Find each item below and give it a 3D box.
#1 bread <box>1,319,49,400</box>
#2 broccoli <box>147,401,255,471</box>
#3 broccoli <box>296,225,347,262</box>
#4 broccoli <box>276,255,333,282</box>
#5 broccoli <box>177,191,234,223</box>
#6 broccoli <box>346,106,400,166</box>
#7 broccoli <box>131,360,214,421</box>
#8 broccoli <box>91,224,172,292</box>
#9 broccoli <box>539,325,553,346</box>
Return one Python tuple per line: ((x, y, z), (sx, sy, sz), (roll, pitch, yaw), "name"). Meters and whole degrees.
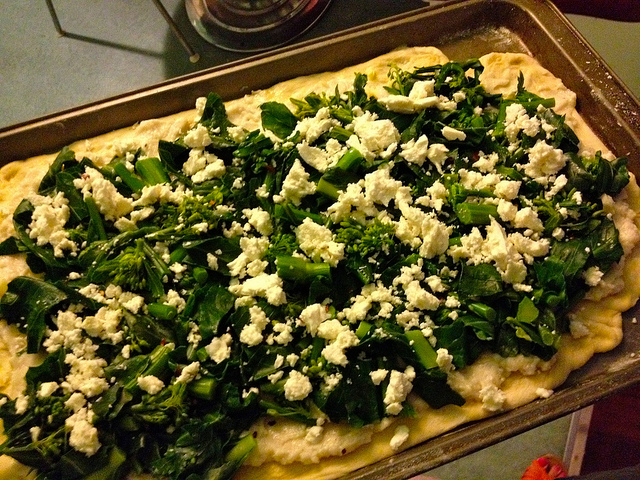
((-1.622, 0.644, 2.920), (0.268, 0.105, 0.348), (-6, 76, 18), "bread")
((-0.588, 1.003, 2.620), (0.408, 0.099, 0.378), (14, 62, 0), "broccoli")
((-0.023, 0.004, 2.843), (0.090, 0.331, 0.177), (-20, 55, 43), "broccoli")
((-0.082, 0.153, 2.824), (0.292, 0.118, 0.123), (4, 47, 0), "broccoli")
((-0.629, -0.190, 2.965), (0.245, 0.099, 0.166), (20, 89, 11), "broccoli")
((0.294, -0.581, 3.034), (0.296, 0.299, 0.109), (-27, -4, 21), "broccoli")
((-0.711, 0.772, 2.745), (0.476, 0.288, 0.170), (-4, 85, 11), "broccoli")
((-0.966, 0.107, 2.902), (0.423, 0.206, 0.550), (30, 8, 7), "broccoli")
((1.159, 0.493, 2.752), (0.058, 0.055, 0.087), (-35, 42, -27), "broccoli")
